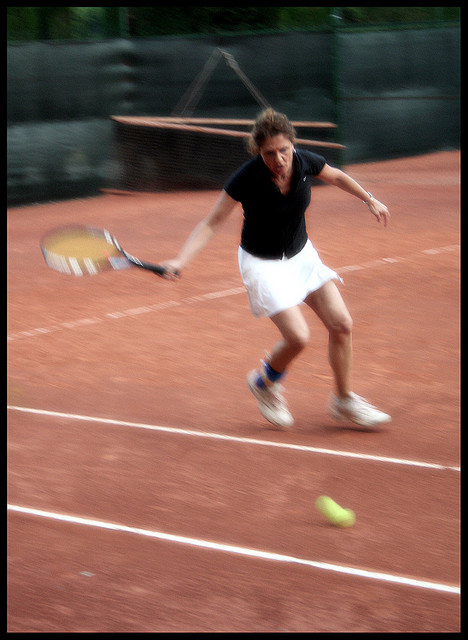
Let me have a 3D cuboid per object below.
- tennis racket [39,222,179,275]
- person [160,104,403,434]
[{"bbox_3d":[-0.604,-0.342,3.177,0.632,0.241,0.268,3,6,22],"label":"tennis racket"},{"bbox_3d":[0.354,-0.210,3.238,0.960,1.497,1.062,5,7,24],"label":"person"}]
